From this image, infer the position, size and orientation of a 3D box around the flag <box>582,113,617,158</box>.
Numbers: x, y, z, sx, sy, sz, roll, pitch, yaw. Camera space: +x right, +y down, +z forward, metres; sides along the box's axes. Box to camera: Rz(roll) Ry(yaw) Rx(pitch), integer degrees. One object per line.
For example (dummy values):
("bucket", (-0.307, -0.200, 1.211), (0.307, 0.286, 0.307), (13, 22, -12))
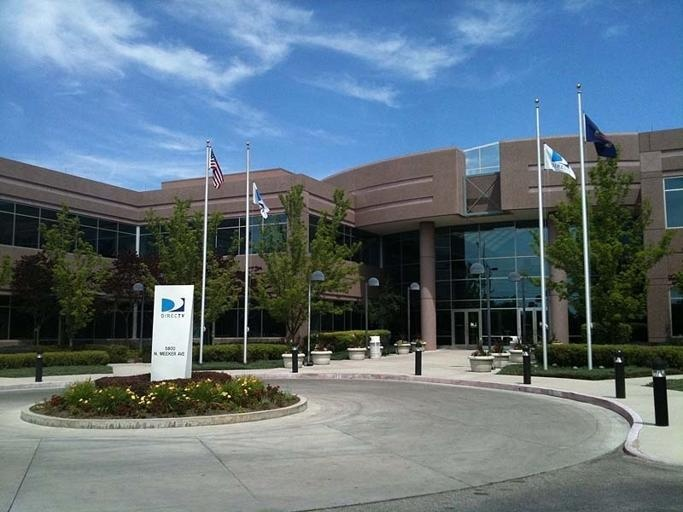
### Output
("flag", (10.587, -5.155, 24.455), (1.418, 1.442, 1.130), (7, -20, -3))

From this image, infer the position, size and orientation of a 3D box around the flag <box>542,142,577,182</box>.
("flag", (9.064, -4.004, 24.719), (0.857, 1.219, 1.796), (-5, -10, 28))

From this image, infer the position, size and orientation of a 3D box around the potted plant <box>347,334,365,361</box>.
("potted plant", (0.989, 5.813, 37.010), (1.100, 1.208, 1.095), (0, -13, 0))

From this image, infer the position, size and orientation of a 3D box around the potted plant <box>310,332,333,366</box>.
("potted plant", (-1.316, 5.252, 32.954), (1.431, 1.763, 1.439), (-2, -10, 13))

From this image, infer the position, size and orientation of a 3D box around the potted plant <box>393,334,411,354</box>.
("potted plant", (4.428, 6.355, 42.019), (1.133, 0.972, 1.184), (0, -11, -1))

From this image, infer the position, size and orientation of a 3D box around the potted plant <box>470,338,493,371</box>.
("potted plant", (6.172, 4.325, 26.164), (1.217, 1.340, 1.184), (1, -3, -19))
